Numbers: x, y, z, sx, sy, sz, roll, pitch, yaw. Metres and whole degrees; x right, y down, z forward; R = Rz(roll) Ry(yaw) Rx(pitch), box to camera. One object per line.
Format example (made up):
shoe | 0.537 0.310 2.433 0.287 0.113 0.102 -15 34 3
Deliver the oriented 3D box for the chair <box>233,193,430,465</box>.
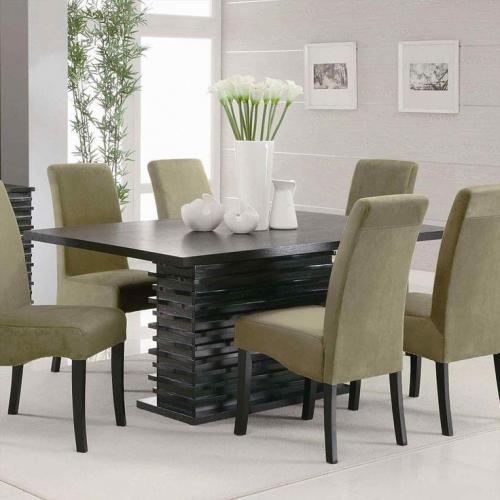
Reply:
chair | 0.300 0.269 1.874 0.451 0.901 0.590 0 1 -41

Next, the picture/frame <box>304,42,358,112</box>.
picture/frame | 0.937 -1.940 5.591 0.839 0.944 0.067 2 2 40

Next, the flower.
flower | 0.003 -0.730 2.641 0.432 0.359 0.461 -5 22 -13

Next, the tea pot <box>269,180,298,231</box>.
tea pot | 0.200 -0.214 2.654 0.187 0.268 0.228 0 -3 17
